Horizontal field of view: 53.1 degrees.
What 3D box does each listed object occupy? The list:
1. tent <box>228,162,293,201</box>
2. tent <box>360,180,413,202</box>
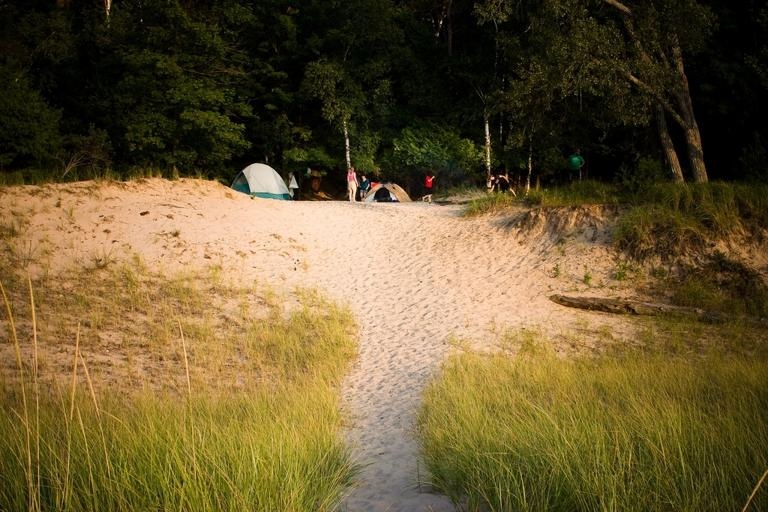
[{"bbox_3d":[-5.719,-3.567,36.615,1.958,1.122,1.860,3,3,-24],"label":"tent"},{"bbox_3d":[0.101,-3.312,38.732,2.227,1.019,2.880,3,3,2],"label":"tent"}]
